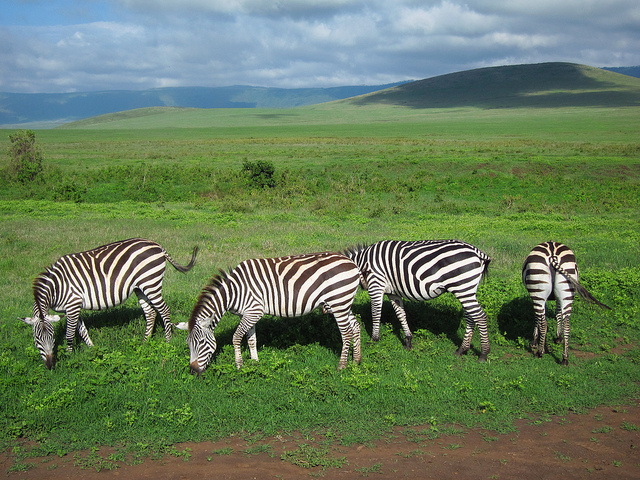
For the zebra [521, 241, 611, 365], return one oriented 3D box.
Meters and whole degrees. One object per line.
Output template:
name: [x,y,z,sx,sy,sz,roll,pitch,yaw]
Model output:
zebra: [6.439,1.647,15.774,1.316,3.129,1.510,-8,12,-42]
